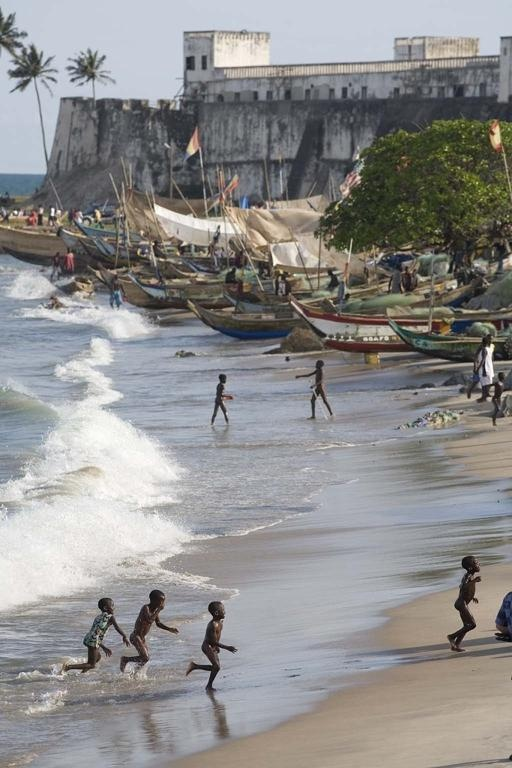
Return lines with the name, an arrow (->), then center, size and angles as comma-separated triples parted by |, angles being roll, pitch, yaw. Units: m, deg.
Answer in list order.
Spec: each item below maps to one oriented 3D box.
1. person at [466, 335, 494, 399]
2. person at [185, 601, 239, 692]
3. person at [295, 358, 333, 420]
person -> 3.194, -0.258, 24.052 | 0.374, 0.347, 1.009 | -4, -32, 4
person -> -0.366, 1.811, 11.947 | 0.363, 0.698, 1.014 | -5, 7, -3
person -> 0.905, 0.091, 27.502 | 0.545, 0.313, 0.995 | 8, 30, -2
